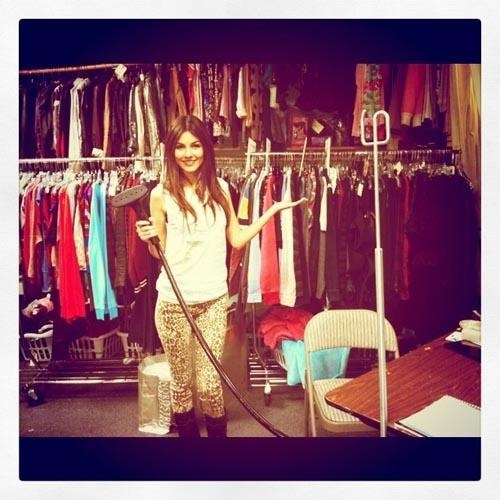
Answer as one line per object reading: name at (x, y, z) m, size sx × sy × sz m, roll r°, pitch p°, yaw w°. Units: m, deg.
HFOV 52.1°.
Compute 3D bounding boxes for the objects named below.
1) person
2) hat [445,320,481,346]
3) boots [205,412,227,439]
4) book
person at (-0.149, 0.280, 2.627) m, size 0.706 × 1.857 × 0.527 m, roll -2°, pitch 9°, yaw -12°
hat at (0.963, 0.381, 2.250) m, size 0.114 × 0.045 × 0.100 m, roll -6°, pitch 12°, yaw -15°
boots at (-0.176, 0.904, 2.628) m, size 0.083 × 0.161 × 0.091 m, roll -16°, pitch 21°, yaw -31°
book at (0.685, 0.596, 1.779) m, size 0.337 × 0.095 × 0.173 m, roll -3°, pitch 5°, yaw -22°
